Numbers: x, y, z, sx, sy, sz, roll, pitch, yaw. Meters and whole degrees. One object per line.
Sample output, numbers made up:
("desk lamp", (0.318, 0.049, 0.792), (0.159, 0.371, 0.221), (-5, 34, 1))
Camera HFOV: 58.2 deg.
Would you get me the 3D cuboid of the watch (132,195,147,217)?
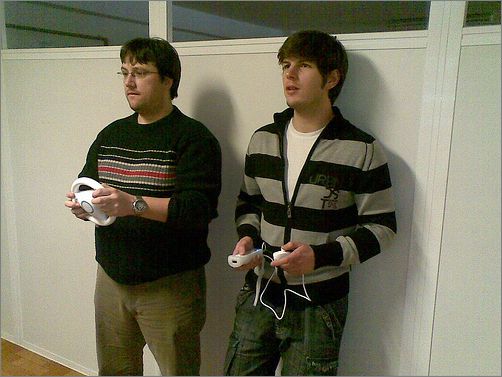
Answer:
("watch", (-0.444, 0.071, 1.794), (0.047, 0.076, 0.067), (-3, -1, -39))
